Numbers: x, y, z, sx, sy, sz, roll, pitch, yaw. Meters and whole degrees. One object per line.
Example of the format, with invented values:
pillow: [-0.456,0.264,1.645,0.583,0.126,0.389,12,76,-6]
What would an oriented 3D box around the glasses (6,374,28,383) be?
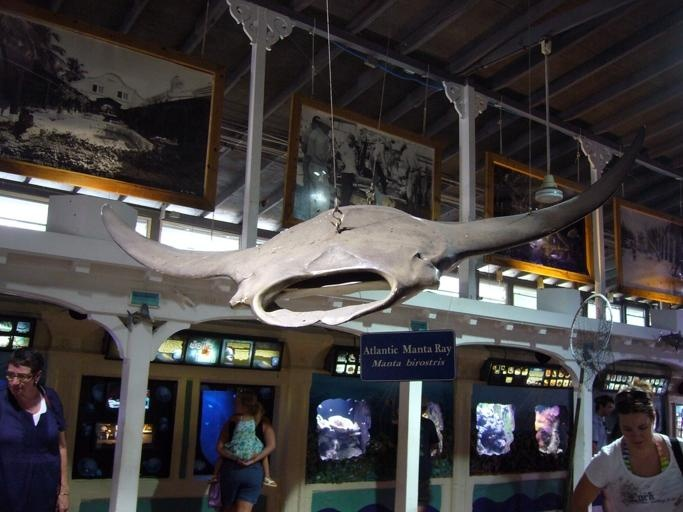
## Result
glasses: [-2.809,1.043,5.813,0.218,0.073,0.114,-4,-15,26]

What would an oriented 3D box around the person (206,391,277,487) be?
person: [-1.177,2.623,9.102,0.977,1.512,0.465,3,-8,-5]
